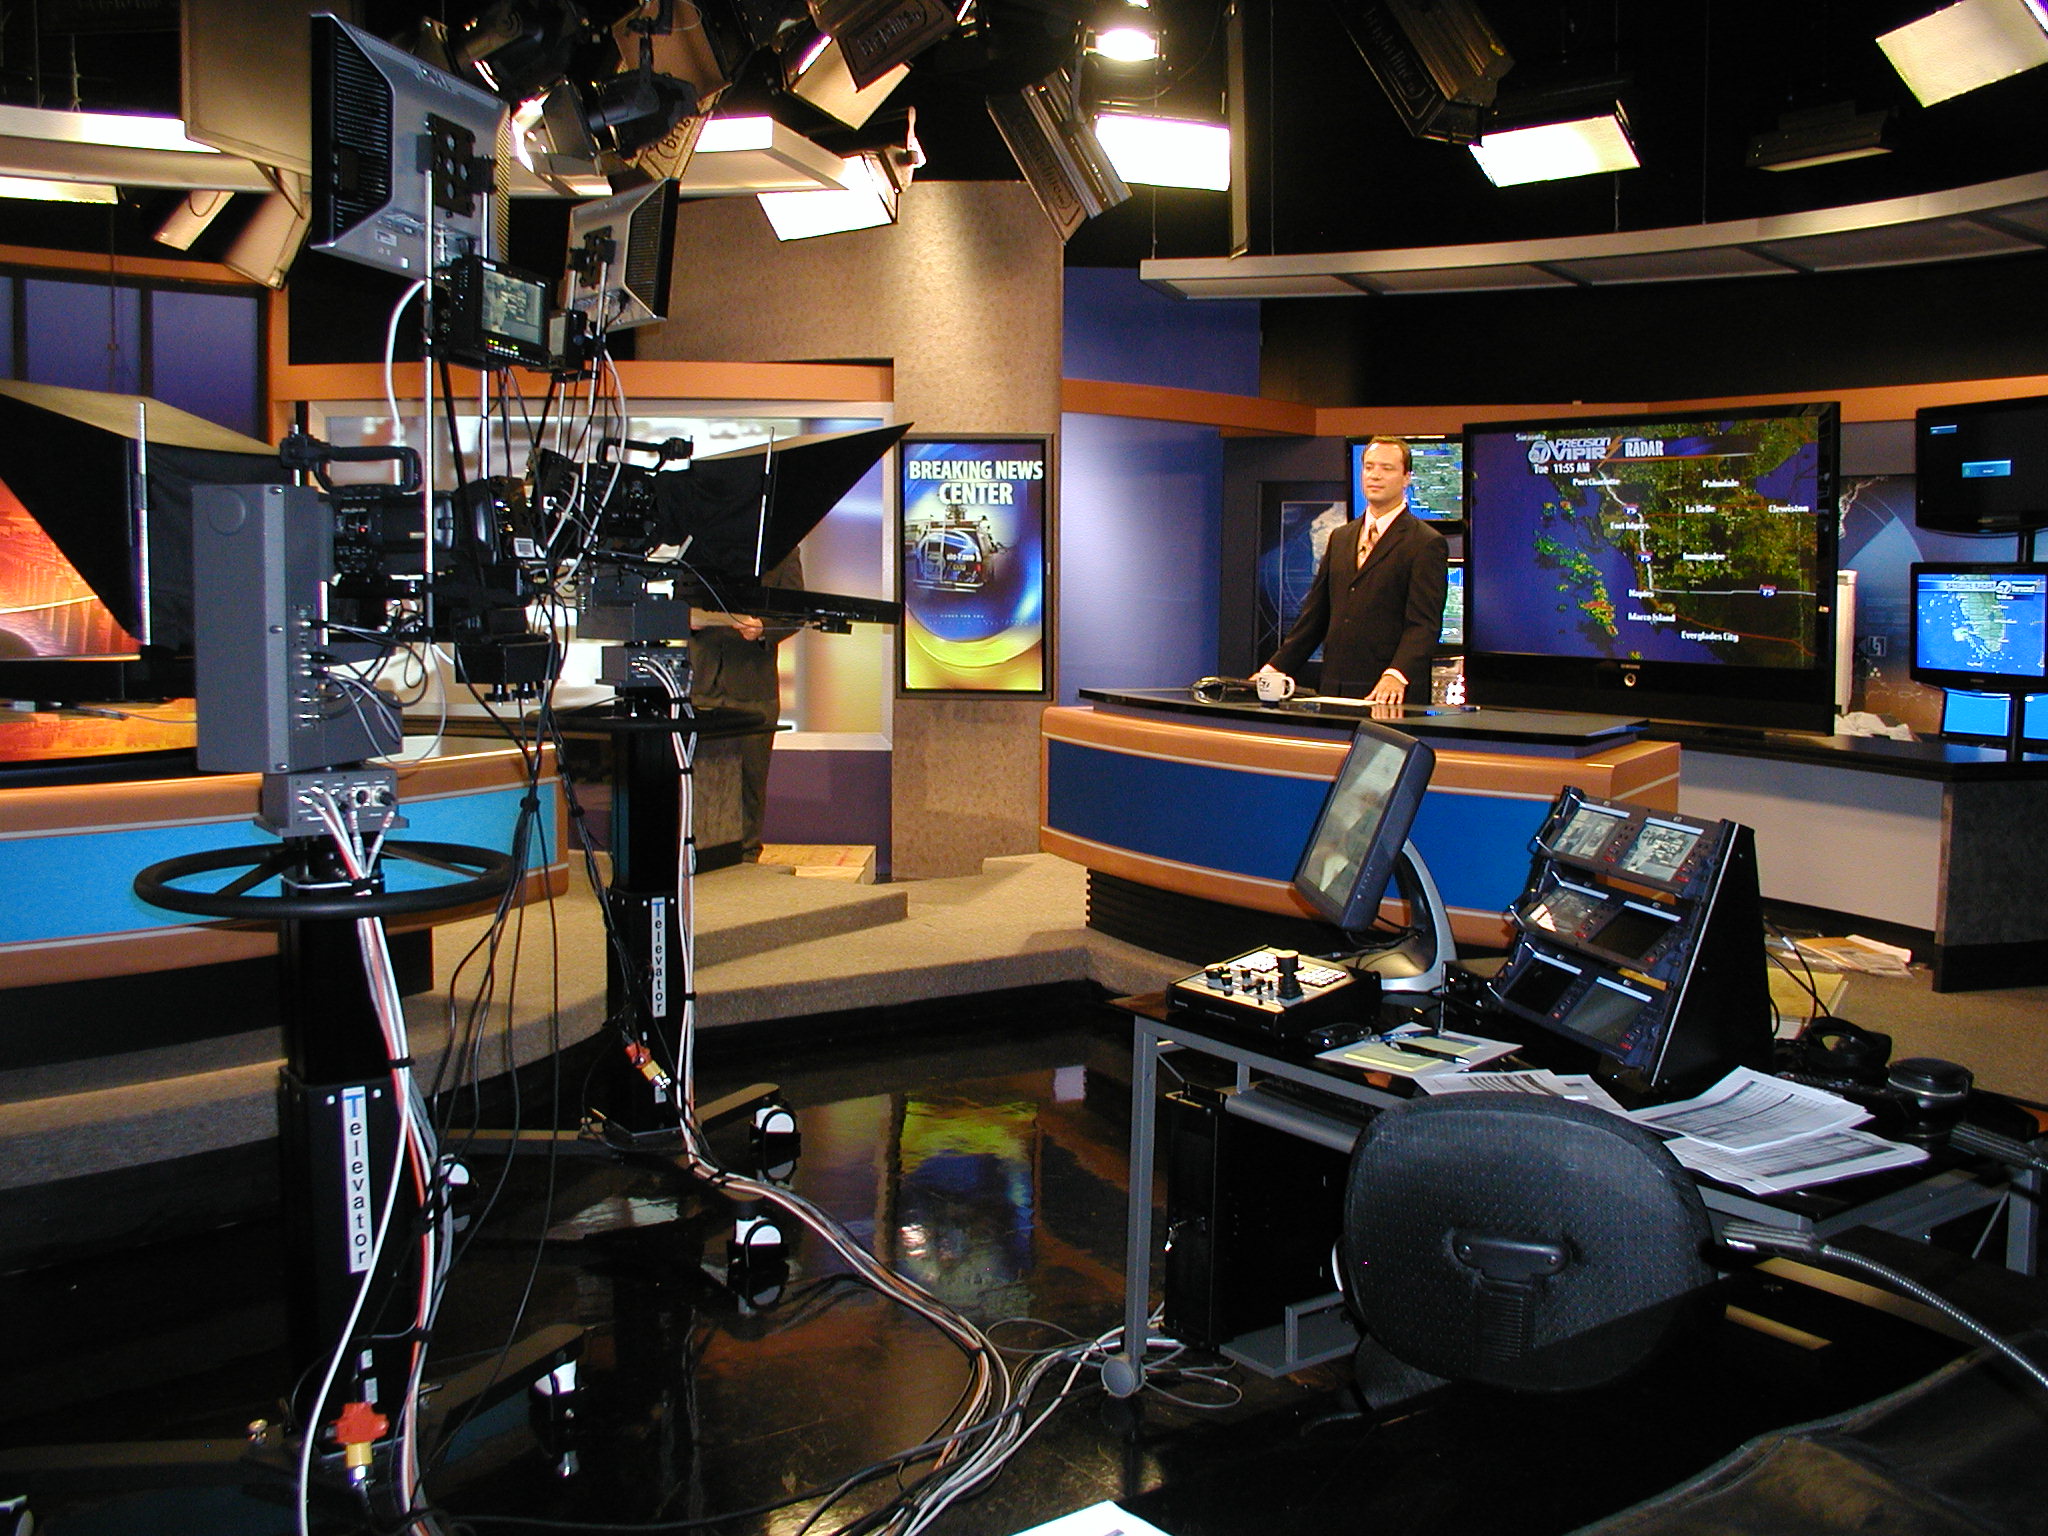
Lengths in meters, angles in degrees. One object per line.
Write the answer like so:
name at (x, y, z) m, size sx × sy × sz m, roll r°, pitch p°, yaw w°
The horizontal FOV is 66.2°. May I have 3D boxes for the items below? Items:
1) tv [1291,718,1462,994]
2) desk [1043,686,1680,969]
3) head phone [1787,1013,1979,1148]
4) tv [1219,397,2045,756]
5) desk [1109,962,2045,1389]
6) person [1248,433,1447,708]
tv at (0.741, 0.186, 3.260) m, size 0.330 × 0.543 × 0.470 m, roll 2°, pitch 9°, yaw 1°
desk at (1.218, 0.253, 5.675) m, size 1.107 × 1.046 × 2.796 m, roll 1°, pitch 4°, yaw -34°
head phone at (1.474, 0.540, 2.731) m, size 0.221 × 0.077 × 0.227 m, roll -14°, pitch 18°, yaw -40°
tv at (2.920, -0.859, 7.069) m, size 2.190 × 1.258 × 0.055 m, roll 3°, pitch 5°, yaw 44°
desk at (0.842, 0.847, 3.339) m, size 1.052 × 0.672 × 0.606 m, roll -13°, pitch -13°, yaw 9°
person at (1.239, -0.700, 5.648) m, size 0.399 × 0.919 × 0.606 m, roll -6°, pitch 11°, yaw -38°
